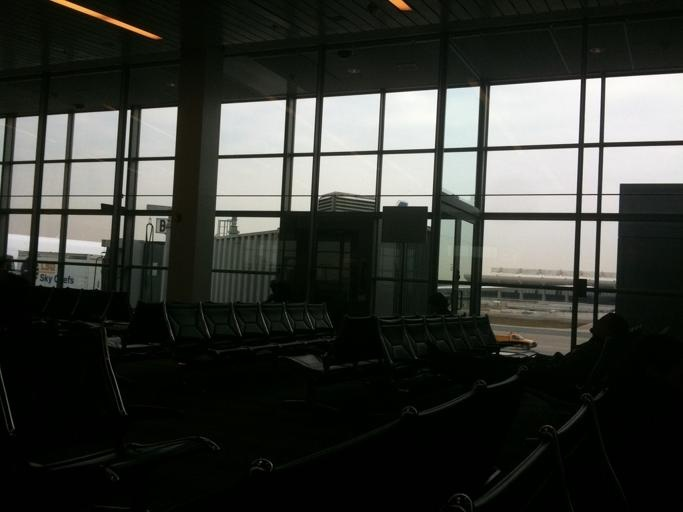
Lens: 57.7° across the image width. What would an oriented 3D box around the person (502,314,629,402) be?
[{"bbox_3d":[2.244,1.200,5.971,0.891,1.081,0.796,-9,8,18],"label":"person"}]
